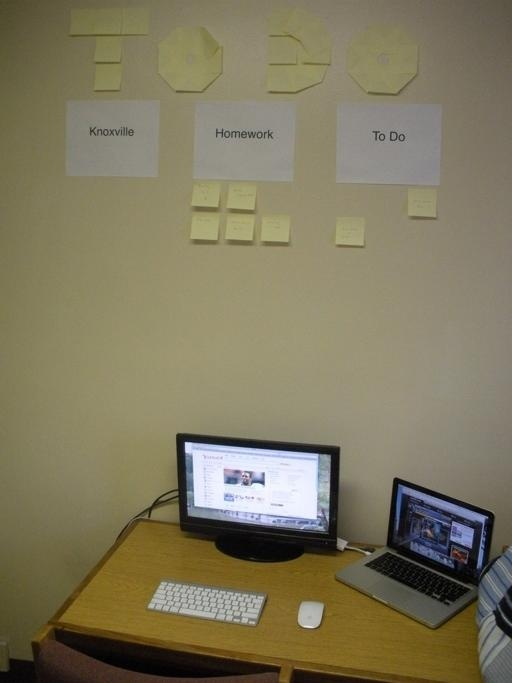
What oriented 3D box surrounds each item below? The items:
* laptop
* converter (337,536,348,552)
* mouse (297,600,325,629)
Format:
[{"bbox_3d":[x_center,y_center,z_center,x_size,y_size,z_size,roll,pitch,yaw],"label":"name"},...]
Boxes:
[{"bbox_3d":[0.428,0.556,1.506,0.316,0.326,0.224,19,14,40],"label":"laptop"},{"bbox_3d":[0.249,0.582,1.702,0.030,0.008,0.030,16,22,39],"label":"converter"},{"bbox_3d":[0.125,0.635,1.371,0.057,0.022,0.084,4,11,18],"label":"mouse"}]
